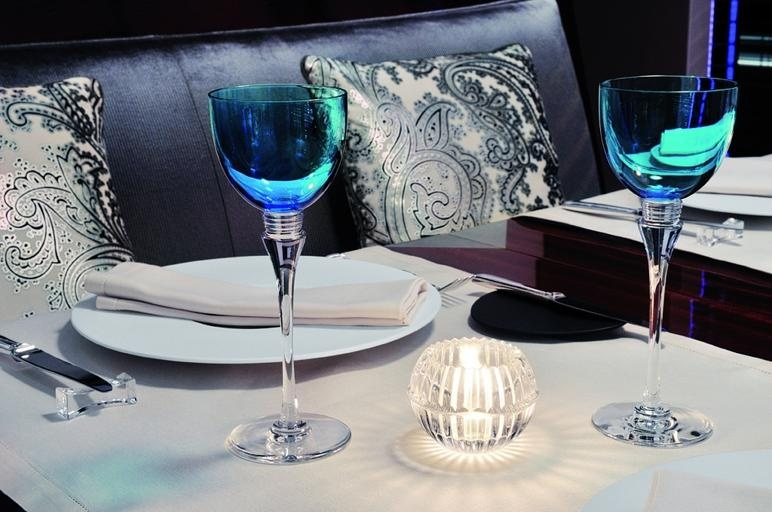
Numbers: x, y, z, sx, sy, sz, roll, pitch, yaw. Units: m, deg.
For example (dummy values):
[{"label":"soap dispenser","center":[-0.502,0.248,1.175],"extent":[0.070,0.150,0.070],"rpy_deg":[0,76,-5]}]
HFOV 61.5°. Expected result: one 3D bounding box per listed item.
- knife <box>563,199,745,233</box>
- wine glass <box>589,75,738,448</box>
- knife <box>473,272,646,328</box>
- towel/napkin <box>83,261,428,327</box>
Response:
[{"label":"knife","center":[0.435,-0.062,1.033],"extent":[0.302,0.054,0.034],"rpy_deg":[7,57,25]},{"label":"wine glass","center":[0.300,-0.022,0.703],"extent":[0.129,0.333,0.325],"rpy_deg":[3,21,27]},{"label":"knife","center":[0.233,0.062,0.876],"extent":[0.171,0.008,0.023],"rpy_deg":[16,51,12]},{"label":"towel/napkin","center":[-0.175,0.054,0.813],"extent":[0.274,0.040,0.162],"rpy_deg":[3,12,3]}]
